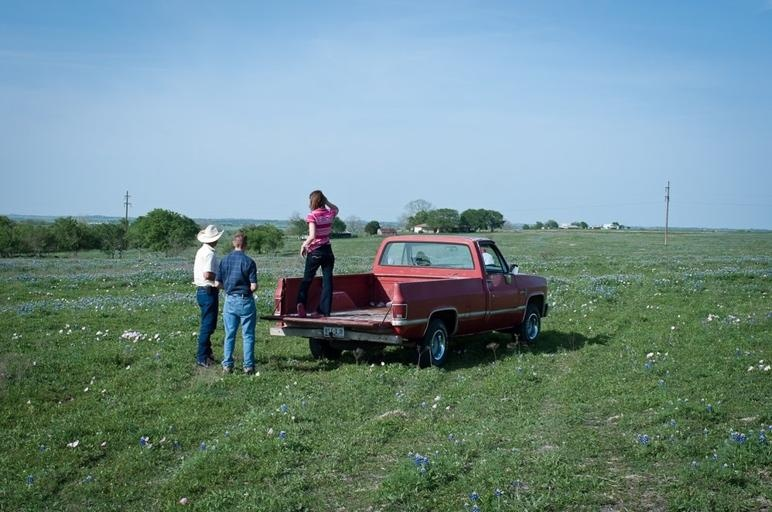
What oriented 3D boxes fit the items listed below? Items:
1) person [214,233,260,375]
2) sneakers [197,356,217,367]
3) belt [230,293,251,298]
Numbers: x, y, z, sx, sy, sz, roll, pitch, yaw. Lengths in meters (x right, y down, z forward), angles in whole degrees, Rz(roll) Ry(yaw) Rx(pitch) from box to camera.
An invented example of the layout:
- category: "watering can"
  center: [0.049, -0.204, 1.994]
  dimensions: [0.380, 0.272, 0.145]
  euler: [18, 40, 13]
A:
- category: "person"
  center: [-3.192, 1.035, 13.731]
  dimensions: [0.784, 2.982, 1.102]
  euler: [-3, 12, -18]
- category: "sneakers"
  center: [-4.013, 2.385, 14.395]
  dimensions: [0.483, 0.226, 0.161]
  euler: [-4, 11, -23]
- category: "belt"
  center: [-3.140, 0.841, 13.614]
  dimensions: [0.487, 0.105, 0.169]
  euler: [0, 12, -1]
